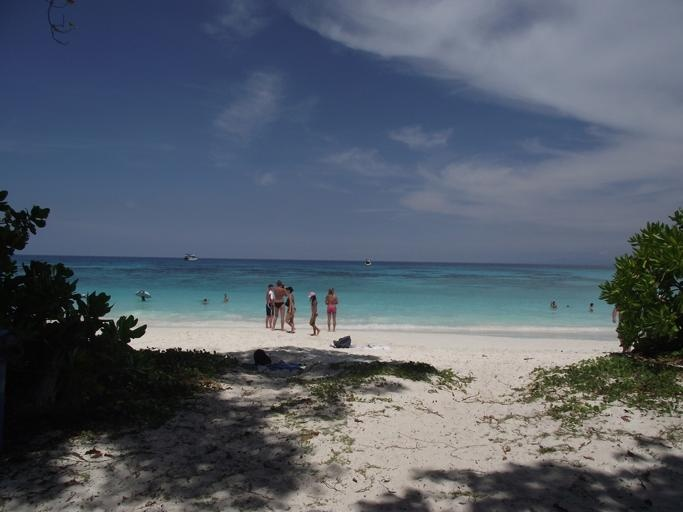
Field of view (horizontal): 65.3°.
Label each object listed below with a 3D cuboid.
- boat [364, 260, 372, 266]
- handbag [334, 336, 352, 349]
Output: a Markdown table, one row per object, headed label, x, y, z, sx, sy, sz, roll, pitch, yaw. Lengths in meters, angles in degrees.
| label | x | y | z | sx | sy | sz | roll | pitch | yaw |
| --- | --- | --- | --- | --- | --- | --- | --- | --- | --- |
| boat | 10.683 | 2.950 | 223.879 | 1.863 | 1.986 | 3.784 | -2 | -13 | 4 |
| handbag | 0.037 | 2.872 | 17.707 | 0.466 | 0.208 | 0.540 | 1 | -3 | -2 |
